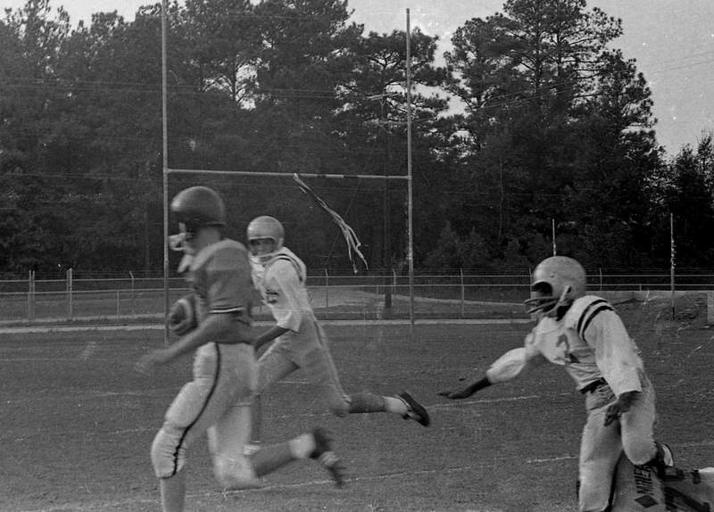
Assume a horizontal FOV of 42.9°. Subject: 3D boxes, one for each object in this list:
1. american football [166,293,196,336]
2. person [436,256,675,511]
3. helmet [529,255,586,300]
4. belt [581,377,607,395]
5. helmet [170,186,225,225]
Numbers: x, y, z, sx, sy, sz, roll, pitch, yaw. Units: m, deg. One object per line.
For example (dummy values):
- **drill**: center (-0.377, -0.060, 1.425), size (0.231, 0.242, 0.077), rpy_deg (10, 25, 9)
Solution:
- **american football**: center (-1.467, 0.508, 7.997), size (0.247, 0.328, 0.340), rpy_deg (23, 1, 12)
- **person**: center (2.064, 1.180, 8.343), size (1.379, 2.348, 0.609), rpy_deg (0, 2, 42)
- **helmet**: center (1.889, 0.218, 8.567), size (0.597, 0.448, 0.414), rpy_deg (-4, -7, -4)
- **belt**: center (2.148, 1.190, 8.239), size (0.126, 0.042, 0.169), rpy_deg (28, -50, -32)
- **helmet**: center (-1.473, -0.448, 8.232), size (0.556, 0.416, 0.412), rpy_deg (-8, 15, -7)
